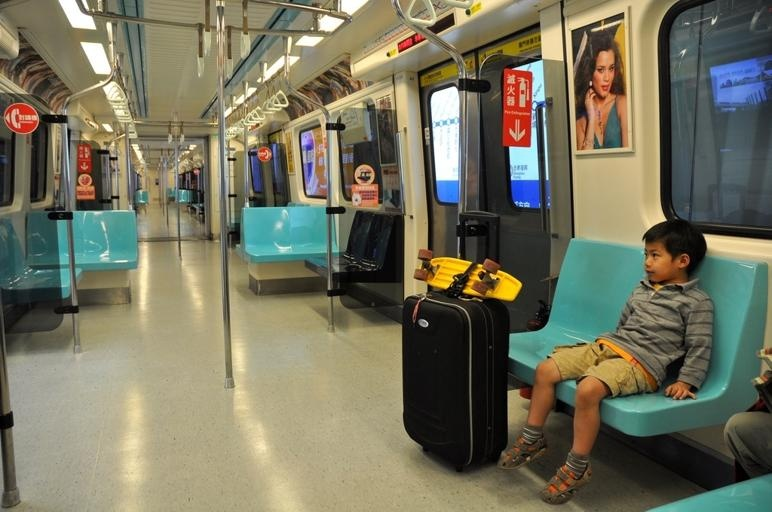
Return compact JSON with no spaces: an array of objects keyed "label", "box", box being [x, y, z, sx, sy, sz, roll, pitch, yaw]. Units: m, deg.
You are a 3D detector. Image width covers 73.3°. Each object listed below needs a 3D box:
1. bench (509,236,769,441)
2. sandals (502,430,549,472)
[{"label":"bench","box":[1.455,0.428,3.298,1.025,0.922,1.390,-9,16,-33]},{"label":"sandals","box":[0.885,1.250,3.302,0.335,0.153,0.130,-32,26,5]}]
